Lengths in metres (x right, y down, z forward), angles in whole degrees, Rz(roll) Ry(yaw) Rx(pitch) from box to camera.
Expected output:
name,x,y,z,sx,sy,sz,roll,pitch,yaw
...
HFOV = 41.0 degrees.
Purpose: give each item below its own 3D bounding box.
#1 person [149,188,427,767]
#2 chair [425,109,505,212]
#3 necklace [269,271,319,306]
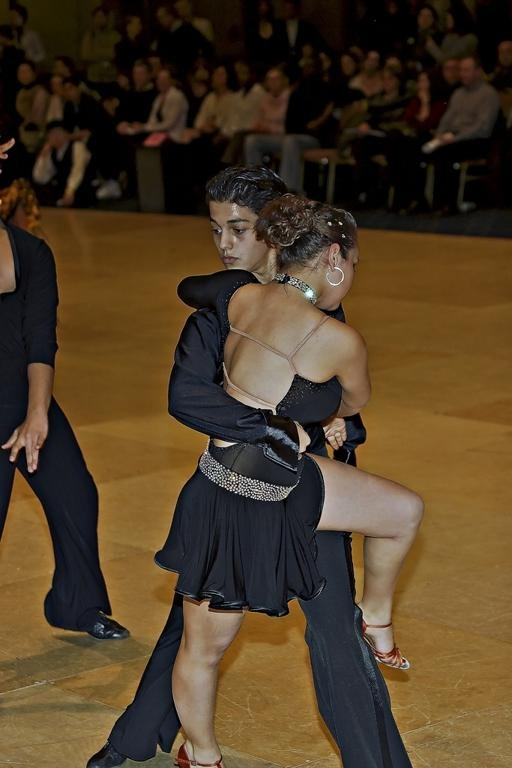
name,x,y,z,sx,sy,sz,roll,pitch,yaw
person,0.075,0.246,1.425,0.534,1.233,0.474,4,14,7
chair,3.622,-4.104,12.220,1.249,1.958,0.640,6,14,14
necklace,0.069,-0.187,1.306,0.066,0.062,0.033,6,24,26
